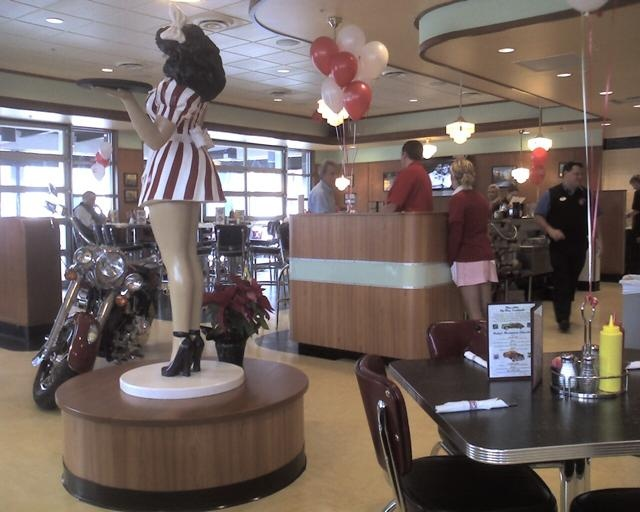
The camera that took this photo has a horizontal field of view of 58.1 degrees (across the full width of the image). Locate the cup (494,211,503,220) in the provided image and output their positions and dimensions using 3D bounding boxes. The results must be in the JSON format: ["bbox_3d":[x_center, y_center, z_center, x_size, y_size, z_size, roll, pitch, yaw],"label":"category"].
[{"bbox_3d":[2.441,-0.559,7.865,0.097,0.079,0.104,-1,4,0],"label":"cup"}]

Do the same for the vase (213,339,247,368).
[{"bbox_3d":[-0.510,0.530,3.261,0.154,0.131,0.163,1,-3,-4],"label":"vase"}]

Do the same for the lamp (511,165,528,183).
[{"bbox_3d":[4.060,-1.625,11.628,0.369,0.297,0.373,-2,0,-26],"label":"lamp"}]

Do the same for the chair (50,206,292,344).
[{"bbox_3d":[-1.956,0.226,7.973,2.766,2.041,1.944,1,-2,-10],"label":"chair"}]

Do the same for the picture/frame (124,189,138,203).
[{"bbox_3d":[-3.823,-1.206,11.494,0.037,0.365,0.395,5,1,30],"label":"picture/frame"}]

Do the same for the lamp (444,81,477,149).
[{"bbox_3d":[2.492,-2.516,10.272,0.586,1.073,4.213,1,6,15],"label":"lamp"}]

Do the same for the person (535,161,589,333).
[{"bbox_3d":[2.446,-0.071,5.833,0.502,1.723,0.381,3,6,27],"label":"person"}]

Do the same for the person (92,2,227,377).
[{"bbox_3d":[-0.755,-0.310,2.979,0.528,1.834,0.341,-1,6,-12],"label":"person"}]

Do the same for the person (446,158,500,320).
[{"bbox_3d":[1.250,-0.128,4.710,0.402,1.322,0.353,1,6,14],"label":"person"}]

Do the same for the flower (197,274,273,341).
[{"bbox_3d":[-0.463,0.257,3.197,0.329,0.251,0.347,10,14,-12],"label":"flower"}]

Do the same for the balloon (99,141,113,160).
[{"bbox_3d":[-3.814,-1.856,10.159,0.283,0.371,0.308,-3,4,-19],"label":"balloon"}]

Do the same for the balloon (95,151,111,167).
[{"bbox_3d":[-3.861,-1.719,10.266,0.279,0.313,0.216,-8,6,35],"label":"balloon"}]

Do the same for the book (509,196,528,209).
[{"bbox_3d":[3.382,-0.919,9.798,0.428,0.163,0.460,5,17,21],"label":"book"}]
